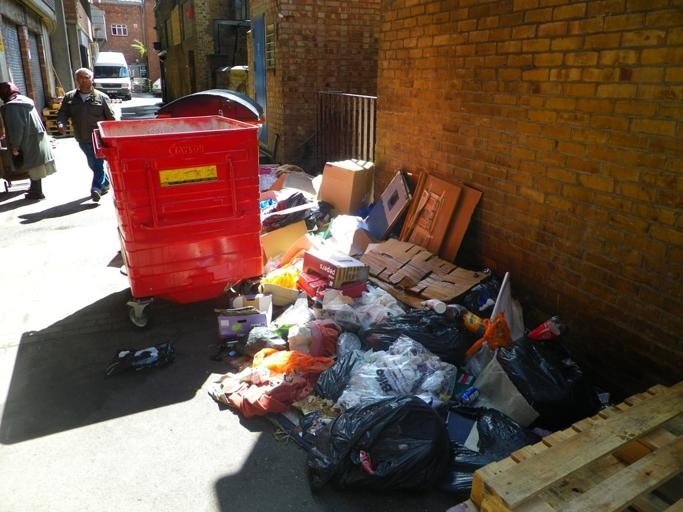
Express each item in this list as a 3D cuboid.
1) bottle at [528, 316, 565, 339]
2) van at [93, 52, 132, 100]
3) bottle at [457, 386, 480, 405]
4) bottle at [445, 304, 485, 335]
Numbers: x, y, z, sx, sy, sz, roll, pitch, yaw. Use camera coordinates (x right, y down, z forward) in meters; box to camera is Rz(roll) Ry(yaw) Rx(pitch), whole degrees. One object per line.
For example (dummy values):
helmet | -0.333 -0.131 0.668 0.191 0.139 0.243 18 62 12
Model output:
bottle | 1.643 0.589 3.970 0.247 0.143 0.112 -25 3 12
van | -15.831 -11.571 34.168 2.335 2.686 5.306 -6 28 -20
bottle | 1.003 1.063 3.856 0.112 0.060 0.063 -21 51 -39
bottle | 1.178 0.559 4.518 0.375 0.182 0.253 16 29 29
